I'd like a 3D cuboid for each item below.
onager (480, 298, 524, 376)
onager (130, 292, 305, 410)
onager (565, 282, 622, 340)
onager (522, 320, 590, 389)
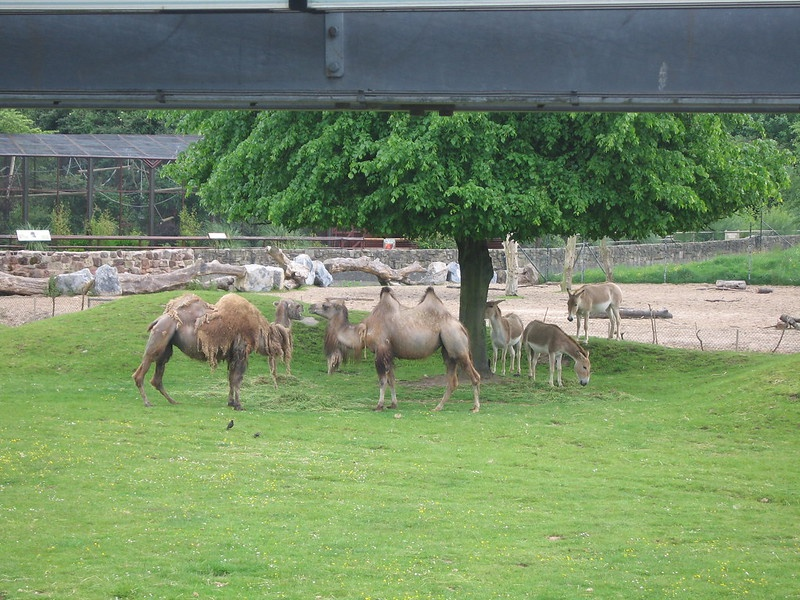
[{"bbox_3d":[2.147,0.823,33.511,0.619,1.512,2.016,1,-2,23],"label":"onager"},{"bbox_3d":[-3.354,0.956,29.142,3.202,2.127,0.871,2,5,-23],"label":"onager"},{"bbox_3d":[4.655,0.283,38.254,0.483,1.331,2.263,5,9,41],"label":"onager"},{"bbox_3d":[3.167,1.144,32.502,1.184,1.415,2.423,1,11,-2],"label":"onager"}]
